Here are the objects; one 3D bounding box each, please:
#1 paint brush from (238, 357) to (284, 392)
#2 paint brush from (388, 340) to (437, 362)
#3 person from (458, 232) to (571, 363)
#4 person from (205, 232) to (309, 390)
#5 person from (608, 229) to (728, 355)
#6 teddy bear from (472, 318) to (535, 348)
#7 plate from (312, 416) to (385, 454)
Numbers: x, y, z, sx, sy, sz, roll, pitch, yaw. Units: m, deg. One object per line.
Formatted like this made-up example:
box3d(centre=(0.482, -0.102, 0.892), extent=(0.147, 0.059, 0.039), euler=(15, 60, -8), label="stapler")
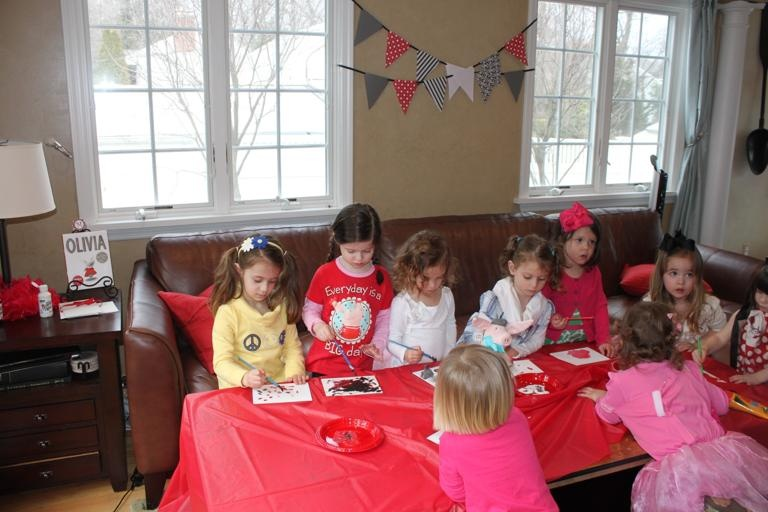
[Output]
box3d(centre=(-0.594, 0.559, 2.560), extent=(0.180, 0.024, 0.019), euler=(40, 26, 9), label="paint brush")
box3d(centre=(0.148, 0.503, 2.878), extent=(0.243, 0.040, 0.029), euler=(23, 1, -13), label="paint brush")
box3d(centre=(0.729, 0.245, 3.093), extent=(0.526, 0.736, 0.423), euler=(-3, 27, -30), label="person")
box3d(centre=(-0.587, 0.381, 2.676), extent=(0.520, 0.922, 0.435), euler=(10, 12, 39), label="person")
box3d(centre=(1.818, 0.251, 3.339), extent=(0.612, 0.738, 0.470), euler=(-5, 13, 12), label="person")
box3d(centre=(0.675, 0.398, 2.953), extent=(0.236, 0.108, 0.110), euler=(2, 0, -21), label="teddy bear")
box3d(centre=(-0.133, 0.715, 2.166), extent=(0.261, 0.071, 0.176), euler=(-4, 10, 4), label="plate")
